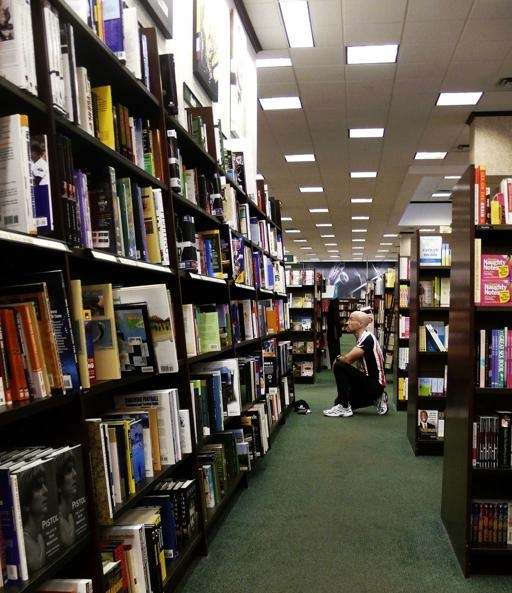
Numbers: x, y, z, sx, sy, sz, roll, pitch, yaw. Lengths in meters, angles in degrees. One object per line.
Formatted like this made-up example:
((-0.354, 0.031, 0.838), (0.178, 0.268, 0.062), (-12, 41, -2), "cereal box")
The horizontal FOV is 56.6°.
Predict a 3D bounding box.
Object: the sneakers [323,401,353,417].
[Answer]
((1.002, 1.367, 5.758), (0.373, 0.190, 0.143), (3, -7, -6), "sneakers")

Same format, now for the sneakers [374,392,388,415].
((1.553, 1.326, 5.842), (0.131, 0.300, 0.113), (0, -2, -8), "sneakers")
